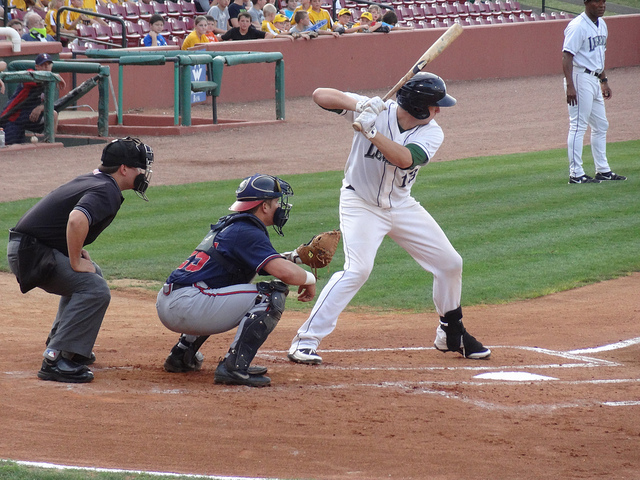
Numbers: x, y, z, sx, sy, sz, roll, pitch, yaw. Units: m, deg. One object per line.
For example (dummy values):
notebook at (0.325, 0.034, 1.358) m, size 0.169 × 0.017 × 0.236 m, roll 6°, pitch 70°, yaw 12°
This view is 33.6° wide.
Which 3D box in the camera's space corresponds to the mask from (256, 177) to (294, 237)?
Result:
mask at (-0.275, -0.265, 8.275) m, size 0.421 × 0.339 × 0.361 m, roll 0°, pitch -12°, yaw -8°

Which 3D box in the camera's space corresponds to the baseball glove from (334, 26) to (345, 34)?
baseball glove at (0.442, -4.717, 23.892) m, size 0.229 × 0.180 × 0.255 m, roll -2°, pitch 8°, yaw -1°

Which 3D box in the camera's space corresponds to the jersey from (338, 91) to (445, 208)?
jersey at (0.586, -0.713, 8.559) m, size 0.802 × 0.929 × 0.484 m, roll -2°, pitch 9°, yaw 2°

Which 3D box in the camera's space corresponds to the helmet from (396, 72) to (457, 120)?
helmet at (0.820, -1.184, 8.579) m, size 0.587 × 0.268 × 0.325 m, roll 5°, pitch 25°, yaw -18°

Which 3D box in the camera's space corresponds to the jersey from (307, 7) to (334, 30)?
jersey at (0.014, -4.967, 23.930) m, size 0.549 × 0.527 × 0.952 m, roll -2°, pitch 7°, yaw -1°

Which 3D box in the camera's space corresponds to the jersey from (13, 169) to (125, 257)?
jersey at (-1.934, -0.198, 8.173) m, size 0.680 × 0.642 × 0.412 m, roll 3°, pitch 10°, yaw 28°

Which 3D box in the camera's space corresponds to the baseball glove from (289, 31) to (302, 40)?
baseball glove at (-0.523, -4.356, 22.667) m, size 0.233 × 0.091 × 0.175 m, roll 12°, pitch 10°, yaw 37°

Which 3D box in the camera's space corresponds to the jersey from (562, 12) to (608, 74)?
jersey at (3.484, -2.564, 13.872) m, size 0.696 × 0.746 × 0.229 m, roll -6°, pitch 10°, yaw -27°

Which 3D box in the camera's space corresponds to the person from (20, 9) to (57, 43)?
person at (-5.111, -3.874, 19.286) m, size 0.612 × 0.734 × 2.324 m, roll -4°, pitch 7°, yaw -13°

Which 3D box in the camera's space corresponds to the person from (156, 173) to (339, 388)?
person at (-0.637, 0.320, 8.166) m, size 1.206 × 1.604 × 0.404 m, roll -3°, pitch 9°, yaw -7°

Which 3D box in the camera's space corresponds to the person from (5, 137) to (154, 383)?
person at (-1.834, 0.156, 8.170) m, size 1.130 × 1.837 × 0.462 m, roll -3°, pitch 9°, yaw -9°

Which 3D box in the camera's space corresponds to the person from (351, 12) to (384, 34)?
person at (1.101, -5.059, 24.852) m, size 0.523 × 0.376 × 0.850 m, roll 4°, pitch 11°, yaw 8°

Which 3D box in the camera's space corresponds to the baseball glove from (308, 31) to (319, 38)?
baseball glove at (-0.151, -4.470, 23.143) m, size 0.153 × 0.143 × 0.451 m, roll -1°, pitch 7°, yaw 7°

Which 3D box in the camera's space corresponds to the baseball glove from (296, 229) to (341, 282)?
baseball glove at (-0.003, 0.119, 8.553) m, size 0.211 × 0.416 × 0.265 m, roll -3°, pitch -37°, yaw -15°

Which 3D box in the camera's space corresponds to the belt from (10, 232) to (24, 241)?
belt at (-2.342, -0.027, 8.179) m, size 0.082 × 0.057 × 0.086 m, roll 2°, pitch -4°, yaw -16°

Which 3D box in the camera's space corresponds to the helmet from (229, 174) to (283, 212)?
helmet at (-0.490, -0.396, 8.232) m, size 0.496 × 0.203 × 0.324 m, roll -15°, pitch 20°, yaw -12°

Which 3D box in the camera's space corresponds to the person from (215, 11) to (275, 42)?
person at (-1.613, -4.449, 22.234) m, size 1.028 × 0.777 × 0.284 m, roll -9°, pitch 15°, yaw -20°

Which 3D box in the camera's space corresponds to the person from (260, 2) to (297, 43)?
person at (-1.027, -4.671, 22.770) m, size 1.147 × 0.874 × 0.711 m, roll 4°, pitch 24°, yaw 1°
